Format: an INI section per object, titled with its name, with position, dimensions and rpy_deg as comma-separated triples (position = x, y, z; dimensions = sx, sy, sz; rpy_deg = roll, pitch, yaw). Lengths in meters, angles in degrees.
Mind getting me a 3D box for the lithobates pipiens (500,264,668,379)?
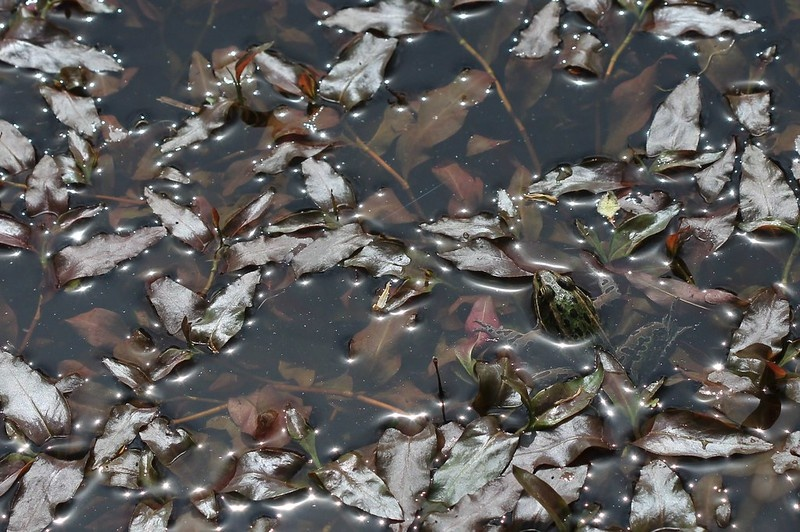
[lithobates pipiens]
position = 0.324, 0.104, 1.595
dimensions = 0.226, 0.066, 0.189
rpy_deg = -32, 85, -5
